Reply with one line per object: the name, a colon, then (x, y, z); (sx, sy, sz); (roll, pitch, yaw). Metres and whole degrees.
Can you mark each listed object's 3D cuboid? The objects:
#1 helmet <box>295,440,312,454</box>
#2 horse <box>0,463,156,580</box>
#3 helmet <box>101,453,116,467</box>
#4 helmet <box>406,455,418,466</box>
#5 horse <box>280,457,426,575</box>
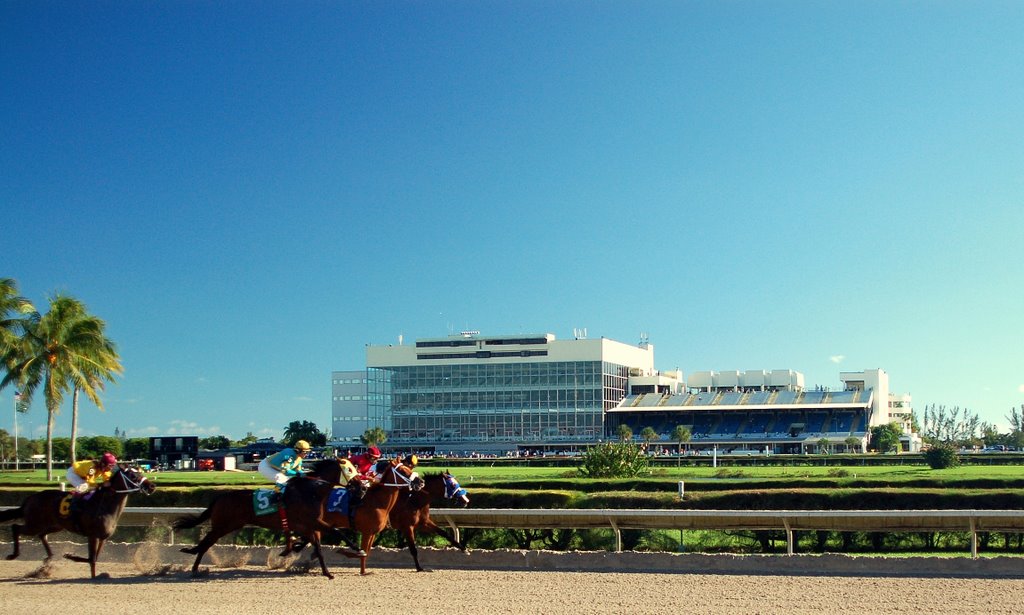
helmet: (-5.126, 3.413, 25.186); (0.415, 0.288, 0.207); (14, -54, -13)
horse: (-10.349, 5.145, 24.680); (3.353, 2.619, 1.083); (-4, -13, 24)
helmet: (-9.714, 3.689, 24.838); (0.290, 0.309, 0.371); (25, -18, -12)
helmet: (-2.455, 3.787, 25.323); (0.277, 0.244, 0.207); (-21, 18, -21)
horse: (-4.237, 4.965, 24.555); (4.194, 2.750, 1.012); (2, -22, -6)
